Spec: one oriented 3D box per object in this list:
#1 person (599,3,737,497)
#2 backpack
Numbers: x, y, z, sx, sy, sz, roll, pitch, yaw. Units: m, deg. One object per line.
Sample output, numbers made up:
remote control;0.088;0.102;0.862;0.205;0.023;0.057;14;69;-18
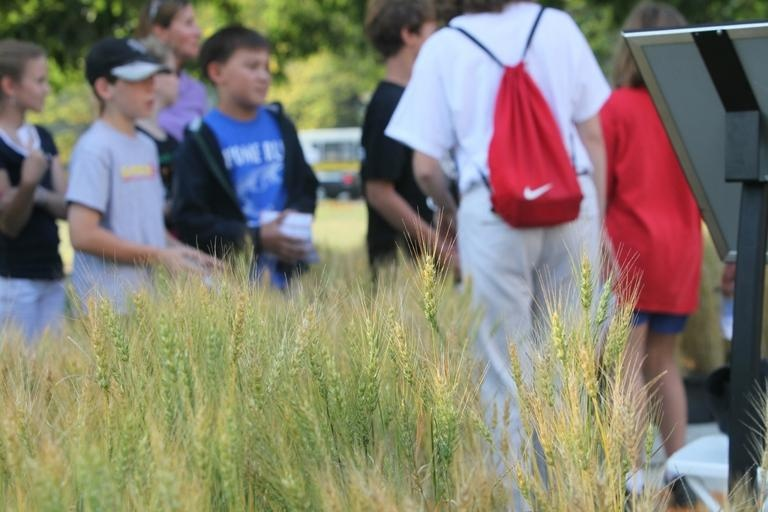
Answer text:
person;1.233;-0.044;7.069;0.444;2.113;1.039;-2;17;12
backpack;0.586;-0.553;6.491;0.412;0.803;0.314;-7;16;-5
